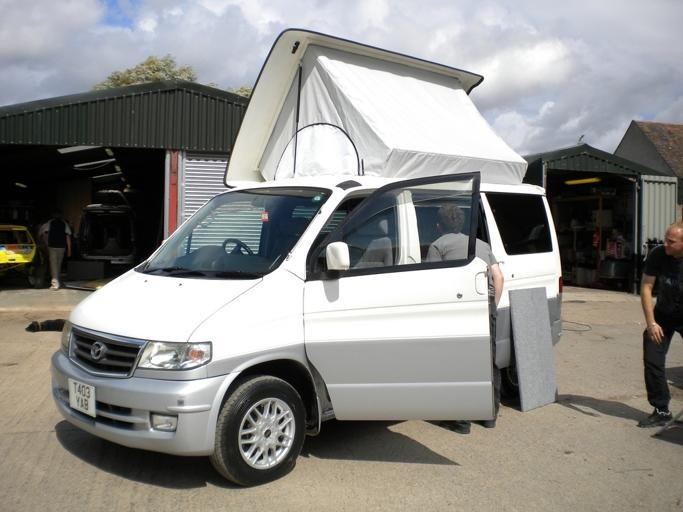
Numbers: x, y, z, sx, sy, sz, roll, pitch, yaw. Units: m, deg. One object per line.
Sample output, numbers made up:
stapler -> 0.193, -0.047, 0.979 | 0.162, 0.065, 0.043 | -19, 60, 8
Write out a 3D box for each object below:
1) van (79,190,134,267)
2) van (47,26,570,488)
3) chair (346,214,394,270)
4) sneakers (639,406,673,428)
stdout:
van -> -7.083, -0.615, 16.832 | 1.534, 1.812, 3.107 | -1, 10, -27
van -> -0.135, -0.361, 5.357 | 4.718, 4.190, 2.785 | -1, 5, -28
chair -> 0.260, -0.102, 4.794 | 0.325, 0.551, 0.427 | 0, -3, 39
sneakers -> 3.273, 1.668, 5.847 | 0.364, 0.193, 0.171 | -2, 0, -5
